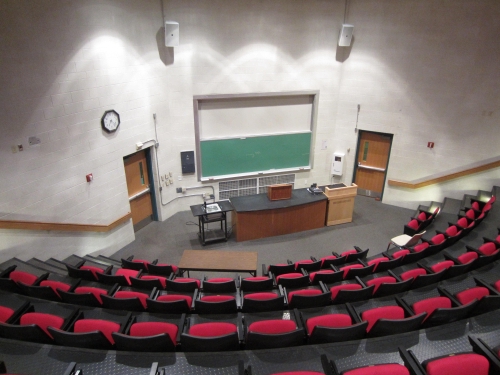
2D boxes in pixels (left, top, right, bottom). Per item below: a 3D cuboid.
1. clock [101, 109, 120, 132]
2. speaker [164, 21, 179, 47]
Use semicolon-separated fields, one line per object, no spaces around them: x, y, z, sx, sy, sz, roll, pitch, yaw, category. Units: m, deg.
-3.485;-1.639;7.997;0.109;0.606;0.541;2;3;21;clock
-2.146;-4.153;8.745;0.334;0.626;0.664;0;3;-16;speaker
